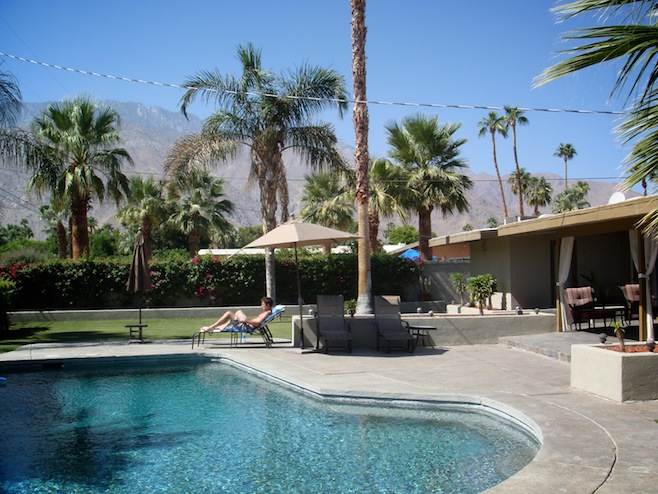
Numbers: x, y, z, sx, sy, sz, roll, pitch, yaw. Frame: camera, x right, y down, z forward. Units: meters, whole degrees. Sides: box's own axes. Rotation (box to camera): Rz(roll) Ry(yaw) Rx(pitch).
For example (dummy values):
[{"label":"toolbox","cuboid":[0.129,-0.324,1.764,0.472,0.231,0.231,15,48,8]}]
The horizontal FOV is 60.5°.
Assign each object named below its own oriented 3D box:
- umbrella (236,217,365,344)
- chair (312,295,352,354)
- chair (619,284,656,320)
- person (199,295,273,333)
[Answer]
[{"label":"umbrella","cuboid":[-0.648,0.841,14.174,2.312,3.363,1.993,-6,-5,31]},{"label":"chair","cuboid":[0.093,1.868,13.829,0.863,1.414,1.106,-3,-5,0]},{"label":"chair","cuboid":[8.757,1.542,15.927,0.810,1.061,2.575,-6,-6,29]},{"label":"person","cuboid":[-2.402,1.765,14.623,2.025,1.030,0.931,3,-5,-13]}]
